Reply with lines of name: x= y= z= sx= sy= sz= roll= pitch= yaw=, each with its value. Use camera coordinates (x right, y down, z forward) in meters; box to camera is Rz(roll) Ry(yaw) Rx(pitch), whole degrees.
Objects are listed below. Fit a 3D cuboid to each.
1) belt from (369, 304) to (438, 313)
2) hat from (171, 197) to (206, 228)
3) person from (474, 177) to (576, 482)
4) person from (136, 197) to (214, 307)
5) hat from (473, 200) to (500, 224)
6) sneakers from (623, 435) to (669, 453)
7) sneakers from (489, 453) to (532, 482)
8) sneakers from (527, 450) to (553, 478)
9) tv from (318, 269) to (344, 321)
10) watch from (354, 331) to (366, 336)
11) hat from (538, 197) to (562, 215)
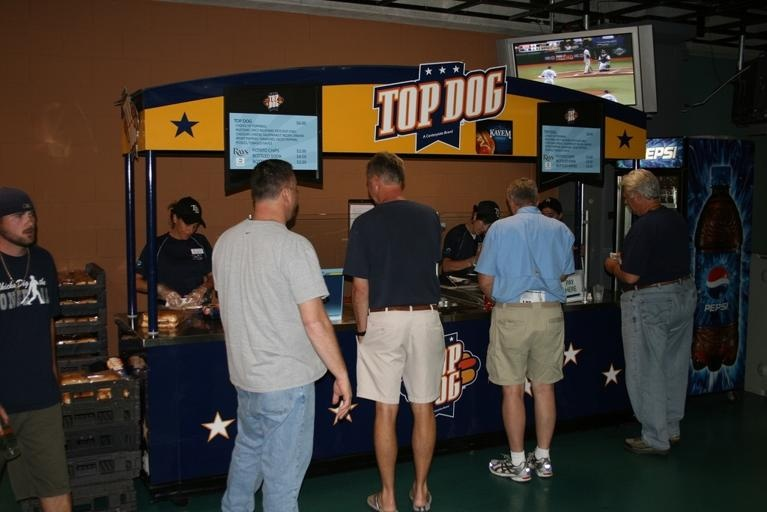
belt: x=0.143 y=0.375 z=4.923 sx=0.476 sy=0.067 sz=0.083 roll=-5 pitch=9 yaw=-1
hat: x=-1.759 y=-0.416 z=6.163 sx=0.311 sy=0.187 sz=0.213 roll=31 pitch=11 yaw=32
person: x=1.137 y=0.591 z=5.431 sx=0.759 sy=2.317 sz=0.402 roll=-5 pitch=8 yaw=-3
person: x=-1.812 y=0.010 z=6.205 sx=0.526 sy=1.018 sz=0.737 roll=20 pitch=19 yaw=42
hat: x=0.949 y=-0.425 z=6.499 sx=0.180 sy=0.136 sz=0.248 roll=0 pitch=3 yaw=-12
sneakers: x=2.216 y=1.611 z=5.804 sx=0.282 sy=0.122 sz=0.140 roll=6 pitch=7 yaw=20
sneakers: x=1.003 y=1.683 z=5.532 sx=0.348 sy=0.168 sz=0.143 roll=8 pitch=5 yaw=38
sneakers: x=1.223 y=1.634 z=5.509 sx=0.126 sy=0.147 sz=0.309 roll=-3 pitch=10 yaw=-9
tv: x=-0.437 y=0.332 z=5.531 sx=0.267 sy=0.390 sz=0.264 roll=2 pitch=-7 yaw=-19
watch: x=-0.157 y=0.566 z=5.041 sx=0.057 sy=0.021 sz=0.041 roll=-1 pitch=2 yaw=-34
hat: x=1.657 y=-0.498 z=6.878 sx=0.252 sy=0.218 sz=0.189 roll=2 pitch=-7 yaw=-36
